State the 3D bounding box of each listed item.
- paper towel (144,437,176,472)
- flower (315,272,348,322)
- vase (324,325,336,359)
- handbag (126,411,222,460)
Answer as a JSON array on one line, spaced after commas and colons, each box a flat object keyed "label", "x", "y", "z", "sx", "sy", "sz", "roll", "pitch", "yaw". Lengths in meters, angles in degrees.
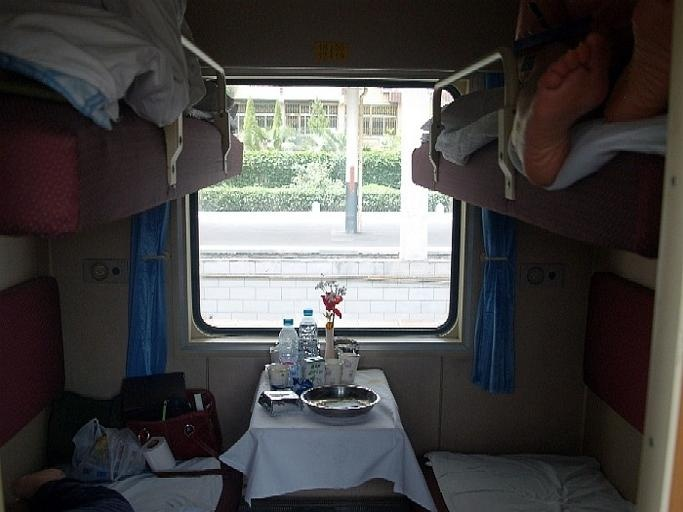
[{"label": "paper towel", "x": -0.938, "y": 1.016, "z": 3.014, "sx": 0.088, "sy": 0.158, "sz": 0.082, "roll": -21, "pitch": 34, "yaw": -15}, {"label": "flower", "x": -0.060, "y": 0.251, "z": 3.191, "sx": 0.143, "sy": 0.228, "sz": 0.142, "roll": 12, "pitch": 15, "yaw": 24}, {"label": "vase", "x": -0.063, "y": 0.446, "z": 3.163, "sx": 0.043, "sy": 0.202, "sz": 0.067, "roll": 1, "pitch": 7, "yaw": -1}, {"label": "handbag", "x": -0.875, "y": 0.929, "z": 3.075, "sx": 0.374, "sy": 0.263, "sz": 0.286, "roll": 0, "pitch": -6, "yaw": -13}]
